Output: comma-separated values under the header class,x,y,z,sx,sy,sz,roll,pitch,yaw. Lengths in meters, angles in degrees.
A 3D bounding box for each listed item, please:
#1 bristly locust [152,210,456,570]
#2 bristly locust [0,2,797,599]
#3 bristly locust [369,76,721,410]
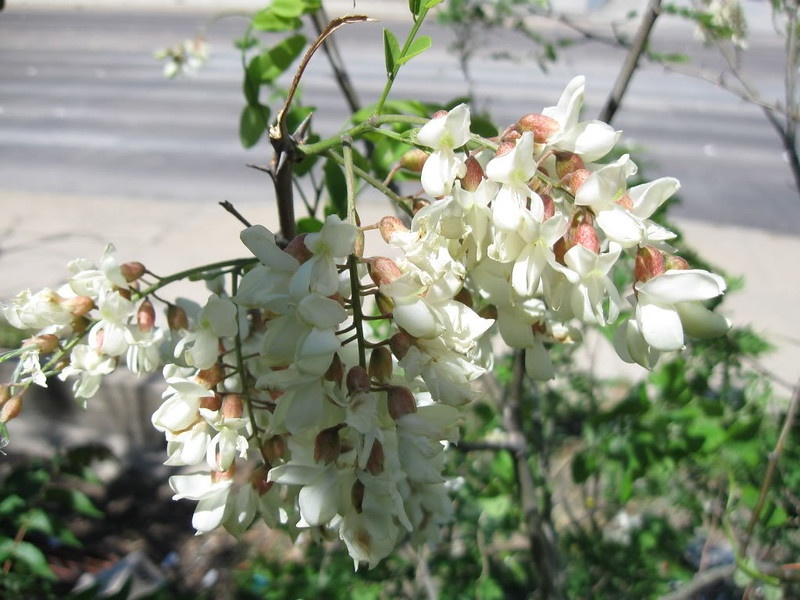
class,x,y,z,sx,sy,sz,roll,pitch,yaw
bristly locust,-0.241,0.260,2.614,0.795,0.972,0.915,-1,1,3
bristly locust,0.055,-0.162,2.732,1.623,1.645,1.089,1,17,19
bristly locust,0.366,-0.187,2.380,0.888,0.528,0.611,20,-8,10
